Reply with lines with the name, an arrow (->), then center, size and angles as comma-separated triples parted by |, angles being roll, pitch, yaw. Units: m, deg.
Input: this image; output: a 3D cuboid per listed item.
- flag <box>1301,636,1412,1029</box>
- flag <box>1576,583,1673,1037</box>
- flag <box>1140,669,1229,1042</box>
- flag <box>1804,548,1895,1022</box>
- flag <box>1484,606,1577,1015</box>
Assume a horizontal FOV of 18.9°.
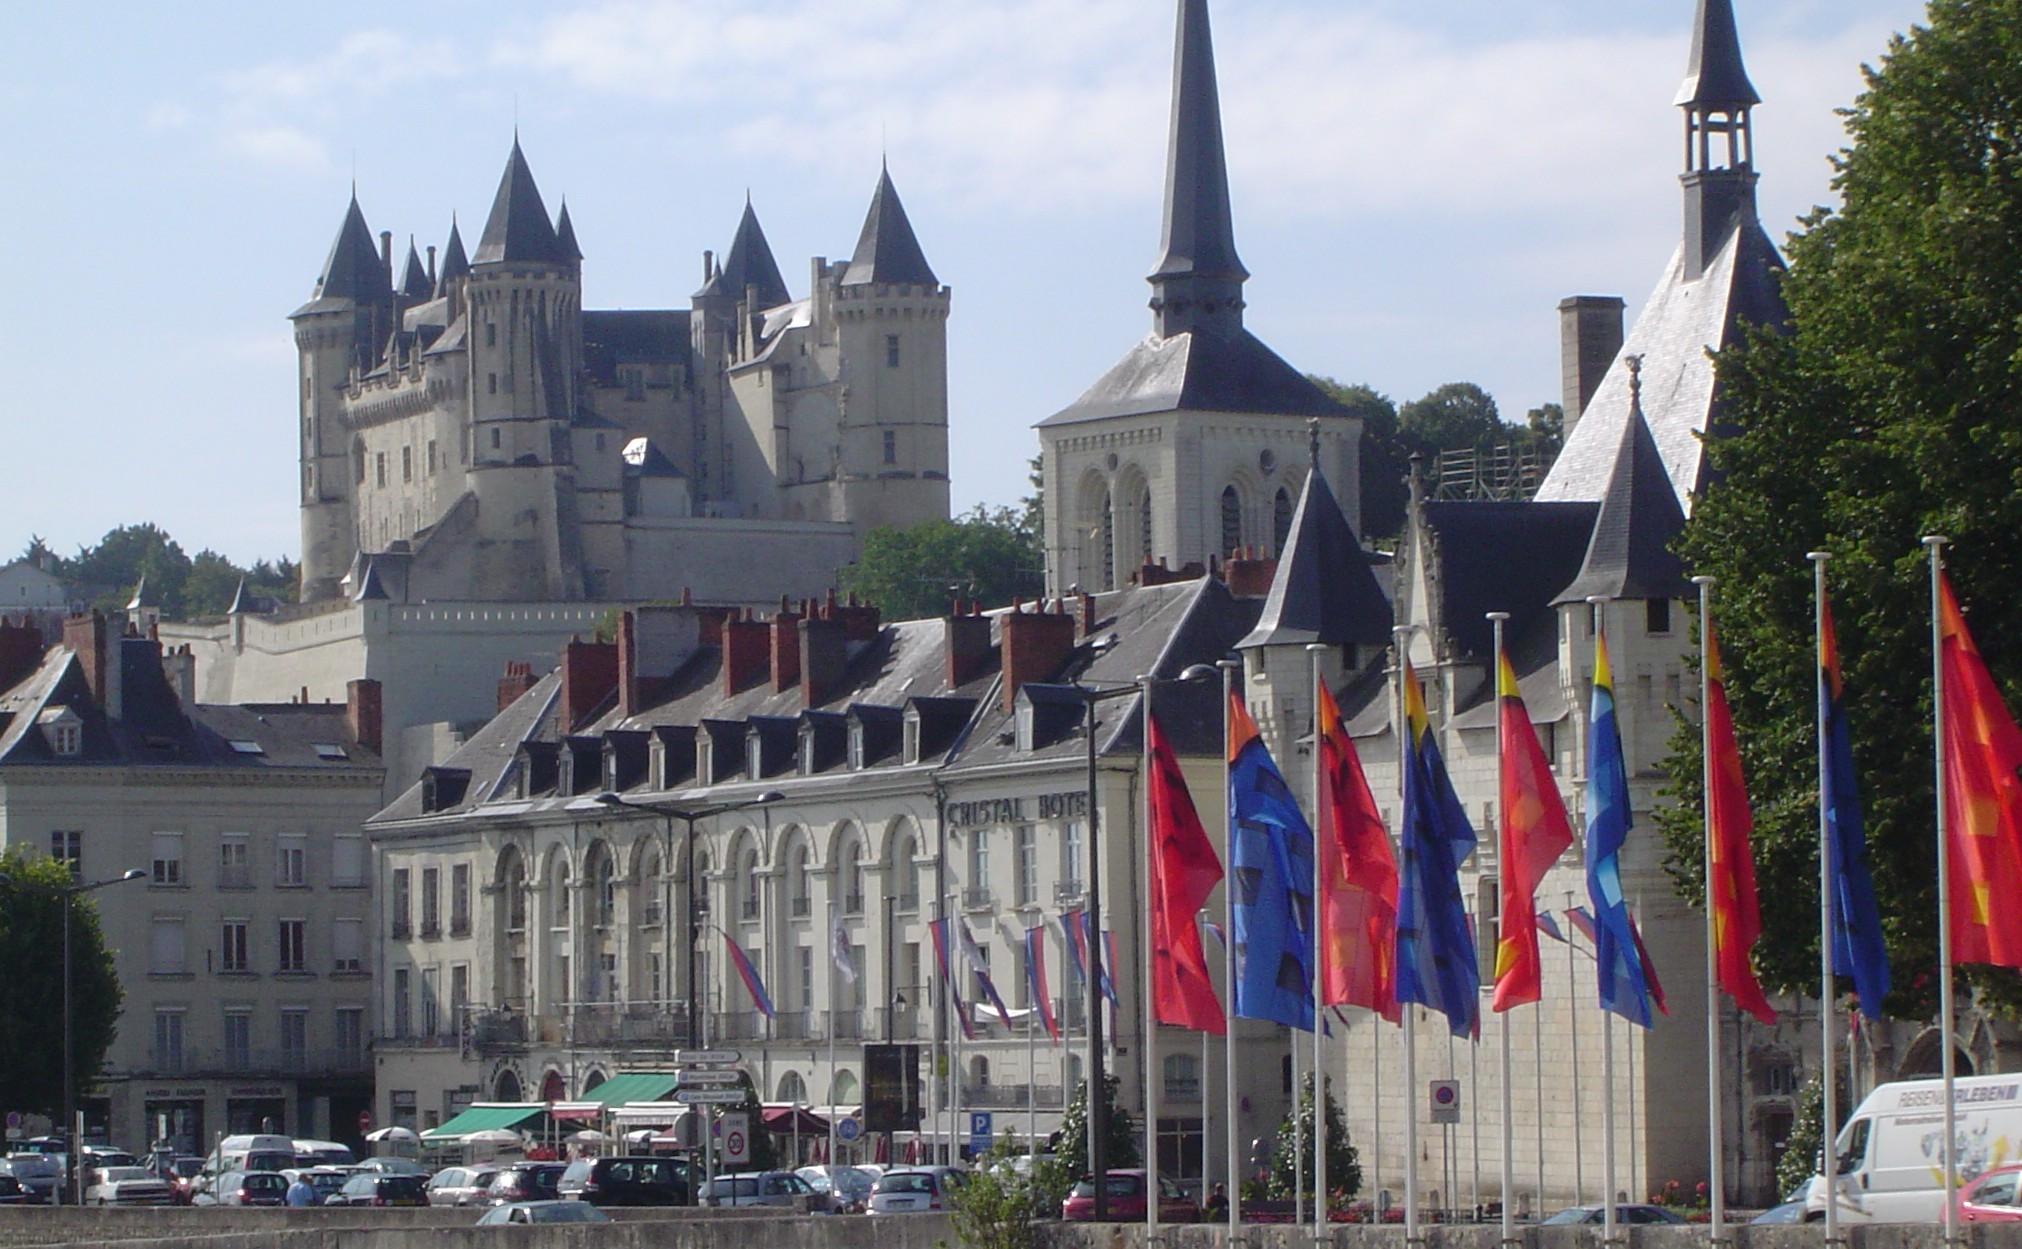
flag -> 7.462, 5.084, 131.855 | 2.318, 6.914, 1.463 | 7, 1, 33
flag -> 13.068, 4.872, 131.804 | 2.816, 9.420, 1.685 | 1, 3, -11
flag -> 3.618, 5.687, 132.663 | 2.099, 6.982, 1.318 | 2, 4, -4
flag -> 18.419, 3.783, 128.355 | 1.497, 8.561, 2.863 | 2, 11, 6
flag -> 10.876, 4.574, 131.661 | 1.706, 7.669, 2.654 | 1, 2, -12
